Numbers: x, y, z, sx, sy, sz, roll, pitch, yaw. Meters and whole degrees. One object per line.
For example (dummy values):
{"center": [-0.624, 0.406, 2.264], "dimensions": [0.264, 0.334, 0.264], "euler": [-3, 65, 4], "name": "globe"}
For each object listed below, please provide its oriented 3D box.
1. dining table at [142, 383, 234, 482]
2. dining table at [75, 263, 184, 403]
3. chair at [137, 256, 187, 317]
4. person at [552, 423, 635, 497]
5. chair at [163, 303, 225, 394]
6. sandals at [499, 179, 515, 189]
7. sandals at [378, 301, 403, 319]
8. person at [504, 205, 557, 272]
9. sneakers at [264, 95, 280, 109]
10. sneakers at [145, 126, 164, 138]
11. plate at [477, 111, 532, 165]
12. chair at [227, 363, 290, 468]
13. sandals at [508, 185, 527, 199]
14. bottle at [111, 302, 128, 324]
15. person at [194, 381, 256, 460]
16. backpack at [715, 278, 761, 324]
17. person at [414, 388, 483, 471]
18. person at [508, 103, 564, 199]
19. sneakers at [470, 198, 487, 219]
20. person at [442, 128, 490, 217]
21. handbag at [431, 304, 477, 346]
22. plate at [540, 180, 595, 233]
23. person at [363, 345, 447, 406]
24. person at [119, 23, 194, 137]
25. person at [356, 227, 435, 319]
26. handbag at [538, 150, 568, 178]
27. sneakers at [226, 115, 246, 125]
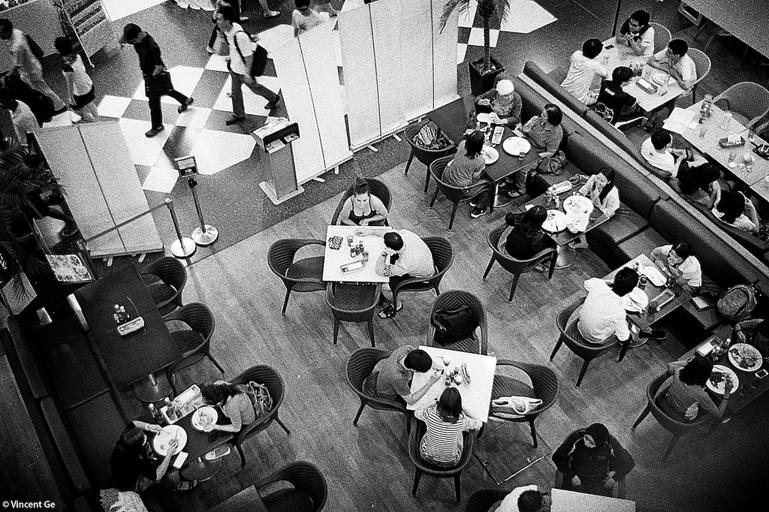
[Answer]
{"center": [-2.254, 2.183, 6.726], "dimensions": [0.615, 0.240, 0.928], "euler": [-37, 37, -10], "name": "dining table"}
{"center": [-3.628, 0.817, 7.660], "dimensions": [0.848, 1.569, 0.763], "euler": [-30, 32, -28], "name": "dining table"}
{"center": [-3.141, 0.464, 7.903], "dimensions": [0.487, 0.637, 0.498], "euler": [-34, 96, -19], "name": "chair"}
{"center": [2.442, 2.482, 6.620], "dimensions": [0.892, 0.985, 0.553], "euler": [5, 47, 5], "name": "person"}
{"center": [-2.635, 1.323, 7.664], "dimensions": [0.708, 0.919, 0.617], "euler": [-31, 77, -17], "name": "chair"}
{"center": [2.075, -1.244, 9.520], "dimensions": [0.182, 0.043, 0.173], "euler": [3, 92, 12], "name": "sandals"}
{"center": [0.091, 0.830, 8.401], "dimensions": [0.346, 0.132, 0.181], "euler": [-32, 81, 2], "name": "sandals"}
{"center": [2.116, -0.249, 8.050], "dimensions": [0.489, 0.838, 0.522], "euler": [-43, 72, -7], "name": "person"}
{"center": [-2.145, -2.958, 10.754], "dimensions": [0.139, 0.407, 0.160], "euler": [47, 33, 3], "name": "sneakers"}
{"center": [-4.280, -2.324, 10.457], "dimensions": [0.333, 0.134, 0.160], "euler": [-30, 74, -2], "name": "sneakers"}
{"center": [1.887, -1.862, 8.926], "dimensions": [0.912, 0.156, 0.702], "euler": [-5, 67, -7], "name": "plate"}
{"center": [-1.609, 2.120, 7.133], "dimensions": [0.758, 0.983, 0.657], "euler": [-32, 78, -18], "name": "chair"}
{"center": [2.242, -1.070, 9.483], "dimensions": [0.293, 0.179, 0.153], "euler": [-17, 86, 19], "name": "sandals"}
{"center": [-3.519, 0.777, 7.421], "dimensions": [0.162, 0.284, 0.164], "euler": [4, 71, -12], "name": "bottle"}
{"center": [-1.939, 1.996, 6.899], "dimensions": [0.664, 1.146, 0.602], "euler": [-5, 36, -6], "name": "person"}
{"center": [4.719, 0.611, 7.522], "dimensions": [0.530, 0.196, 0.425], "euler": [-25, 73, 11], "name": "backpack"}
{"center": [0.716, 2.025, 6.555], "dimensions": [0.624, 1.218, 0.780], "euler": [11, 64, 9], "name": "person"}
{"center": [2.462, -1.695, 9.030], "dimensions": [0.804, 1.417, 0.659], "euler": [-23, 74, 0], "name": "person"}
{"center": [1.561, -0.792, 9.280], "dimensions": [0.184, 0.170, 0.405], "euler": [26, 64, 15], "name": "sneakers"}
{"center": [1.313, -1.371, 8.886], "dimensions": [0.734, 1.255, 0.488], "euler": [-38, 79, -16], "name": "person"}
{"center": [0.916, 0.921, 7.533], "dimensions": [0.615, 0.351, 0.407], "euler": [-15, 48, -13], "name": "handbag"}
{"center": [2.748, -0.658, 8.280], "dimensions": [0.758, 0.183, 0.724], "euler": [30, 71, 17], "name": "plate"}
{"center": [0.269, 1.603, 7.098], "dimensions": [0.827, 1.321, 0.669], "euler": [9, 54, -17], "name": "person"}
{"center": [-4.087, -3.241, 10.016], "dimensions": [0.861, 1.911, 0.855], "euler": [-9, 47, -7], "name": "person"}
{"center": [0.136, 0.190, 8.108], "dimensions": [1.173, 1.637, 0.738], "euler": [8, 53, 7], "name": "person"}
{"center": [2.716, -1.499, 9.020], "dimensions": [0.424, 0.164, 0.329], "euler": [-12, 81, -12], "name": "handbag"}
{"center": [-2.804, -2.586, 10.596], "dimensions": [0.362, 0.243, 0.140], "euler": [1, 57, -8], "name": "sneakers"}
